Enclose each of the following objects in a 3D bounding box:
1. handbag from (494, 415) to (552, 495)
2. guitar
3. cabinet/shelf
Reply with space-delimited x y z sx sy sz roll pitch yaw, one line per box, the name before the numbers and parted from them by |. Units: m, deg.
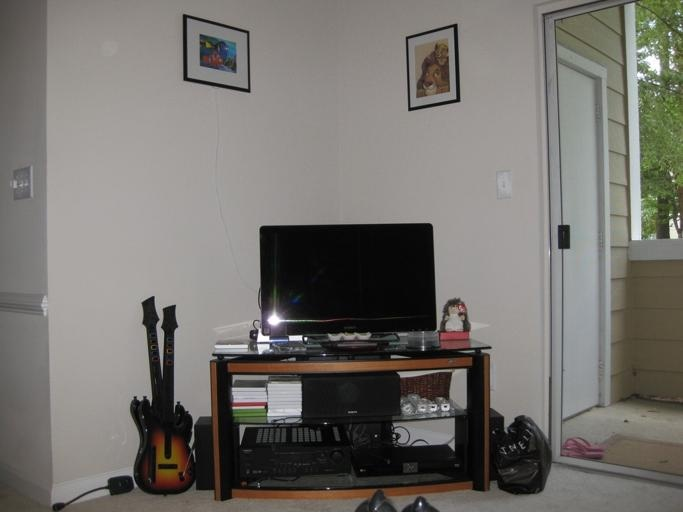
handbag | 1.020 1.111 3.092 0.285 0.438 0.222 -8 -11 26
guitar | -1.026 0.779 3.066 0.332 1.050 0.356 -4 14 -12
cabinet/shelf | 0.049 0.946 3.205 1.497 0.852 0.516 -2 1 2
